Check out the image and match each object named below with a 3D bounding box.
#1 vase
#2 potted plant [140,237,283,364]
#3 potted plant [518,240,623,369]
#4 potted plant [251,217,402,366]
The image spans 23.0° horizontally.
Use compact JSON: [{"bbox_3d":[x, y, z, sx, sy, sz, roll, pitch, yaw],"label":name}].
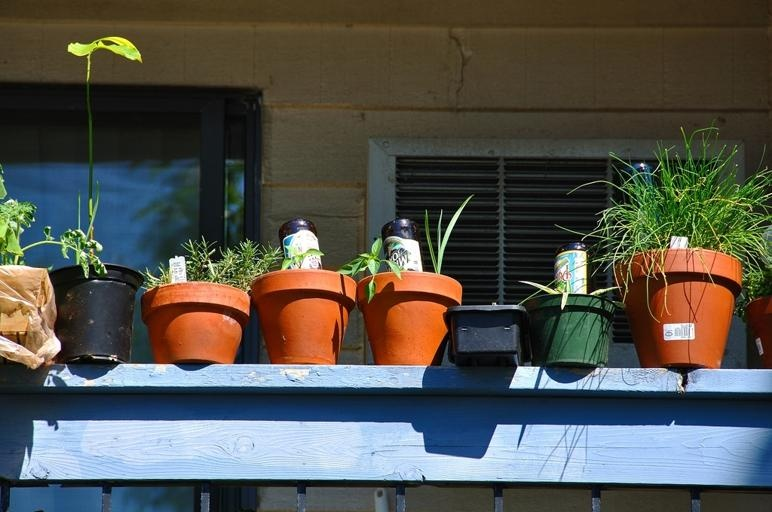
[{"bbox_3d":[0.315,0.228,5.718,0.267,0.210,0.209,1,-1,1],"label":"vase"},{"bbox_3d":[-0.536,0.143,5.946,0.403,0.378,0.498,1,-1,13],"label":"potted plant"},{"bbox_3d":[0.574,0.183,5.826,0.349,0.336,0.329,7,-20,-9],"label":"potted plant"},{"bbox_3d":[-0.216,0.141,5.862,0.372,0.513,0.365,-3,-27,6],"label":"potted plant"}]
